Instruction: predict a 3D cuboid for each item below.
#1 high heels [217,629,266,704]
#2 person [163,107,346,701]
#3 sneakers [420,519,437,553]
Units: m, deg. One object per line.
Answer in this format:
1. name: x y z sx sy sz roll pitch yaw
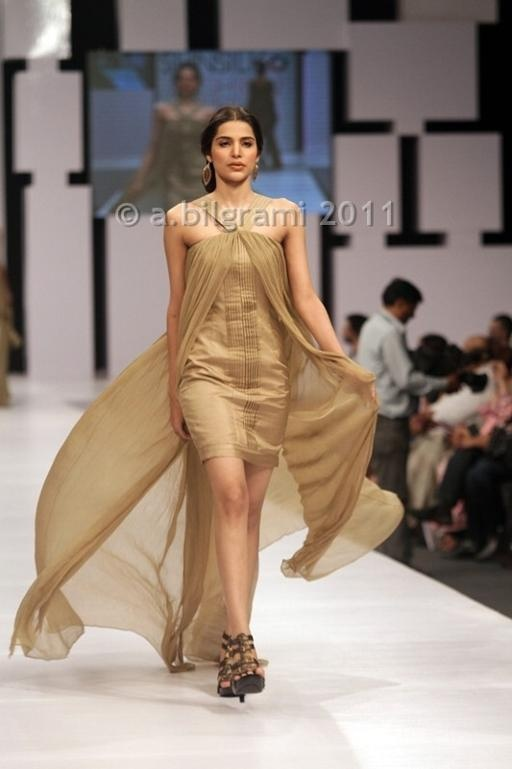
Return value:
1. high heels: -0.037 0.585 1.827 0.089 0.118 0.178 -1 -1 -3
2. person: 0.013 0.004 2.031 0.395 1.107 0.547 -1 -1 -13
3. sneakers: 0.657 0.577 3.380 0.054 0.096 0.182 -2 -1 10
